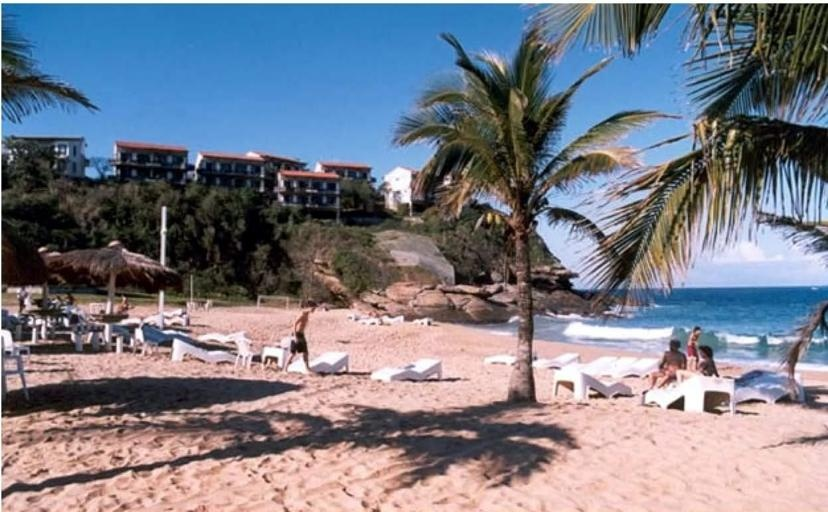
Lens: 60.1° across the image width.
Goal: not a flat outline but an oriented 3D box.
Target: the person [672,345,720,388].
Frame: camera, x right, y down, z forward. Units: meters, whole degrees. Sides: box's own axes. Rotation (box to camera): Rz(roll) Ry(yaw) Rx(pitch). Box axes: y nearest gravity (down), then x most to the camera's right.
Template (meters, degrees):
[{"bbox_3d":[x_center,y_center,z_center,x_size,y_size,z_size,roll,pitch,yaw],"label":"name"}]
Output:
[{"bbox_3d":[5.840,2.212,14.653,0.813,0.776,0.483,-5,0,17],"label":"person"}]

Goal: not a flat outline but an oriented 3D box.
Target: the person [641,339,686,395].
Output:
[{"bbox_3d":[5.112,2.135,14.300,0.630,1.051,0.781,4,13,16],"label":"person"}]
